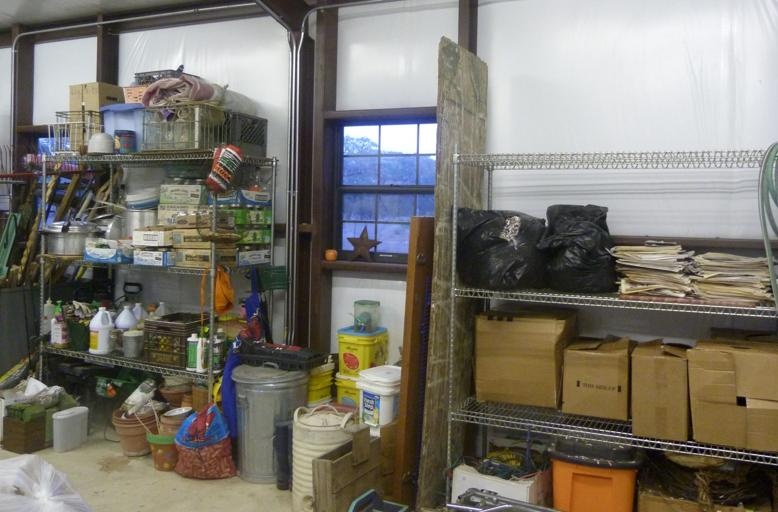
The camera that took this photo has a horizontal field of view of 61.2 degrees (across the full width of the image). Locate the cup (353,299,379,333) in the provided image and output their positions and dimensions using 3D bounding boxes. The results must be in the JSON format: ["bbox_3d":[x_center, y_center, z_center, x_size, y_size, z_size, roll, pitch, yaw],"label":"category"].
[{"bbox_3d":[-0.188,0.518,5.752,0.235,0.290,0.240,0,-4,0],"label":"cup"}]

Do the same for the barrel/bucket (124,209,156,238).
[{"bbox_3d":[-2.318,-0.316,6.111,0.278,0.315,0.284,1,2,0],"label":"barrel/bucket"}]

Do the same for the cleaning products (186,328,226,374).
[{"bbox_3d":[-1.560,0.815,5.552,0.381,0.392,0.273,2,-2,4],"label":"cleaning products"}]

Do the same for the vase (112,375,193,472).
[{"bbox_3d":[-2.024,1.385,5.525,0.508,0.547,0.769,1,-6,0],"label":"vase"}]

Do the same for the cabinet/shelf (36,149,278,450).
[{"bbox_3d":[-2.027,0.433,5.860,2.459,2.724,0.968,3,6,28],"label":"cabinet/shelf"}]

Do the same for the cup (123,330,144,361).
[{"bbox_3d":[-2.281,0.801,5.863,0.210,0.224,0.214,1,-2,0],"label":"cup"}]

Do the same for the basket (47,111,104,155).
[{"bbox_3d":[-3.075,-1.214,6.458,0.364,0.350,0.498,11,18,-12],"label":"basket"}]

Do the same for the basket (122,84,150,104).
[{"bbox_3d":[-2.389,-1.520,6.161,0.267,0.176,0.274,2,7,29],"label":"basket"}]

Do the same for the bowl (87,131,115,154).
[{"bbox_3d":[-2.663,-1.028,6.085,0.209,0.167,0.206,0,1,0],"label":"bowl"}]

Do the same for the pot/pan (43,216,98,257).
[{"bbox_3d":[-2.946,-0.187,5.970,0.366,0.229,0.367,0,1,-6],"label":"pot/pan"}]

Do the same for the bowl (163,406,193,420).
[{"bbox_3d":[-1.766,1.310,5.537,0.194,0.049,0.262,3,4,44],"label":"bowl"}]

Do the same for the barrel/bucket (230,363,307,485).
[{"bbox_3d":[-0.974,1.394,5.469,0.642,0.923,0.615,0,-7,0],"label":"barrel/bucket"}]

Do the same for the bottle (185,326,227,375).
[{"bbox_3d":[-1.545,0.812,5.548,0.395,0.405,0.280,3,-2,9],"label":"bottle"}]

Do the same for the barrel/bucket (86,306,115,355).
[{"bbox_3d":[-2.634,0.676,6.014,0.230,0.407,0.193,0,2,-14],"label":"barrel/bucket"}]

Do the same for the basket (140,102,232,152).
[{"bbox_3d":[-1.738,-1.128,6.002,0.724,0.367,0.719,-4,6,-40],"label":"basket"}]
